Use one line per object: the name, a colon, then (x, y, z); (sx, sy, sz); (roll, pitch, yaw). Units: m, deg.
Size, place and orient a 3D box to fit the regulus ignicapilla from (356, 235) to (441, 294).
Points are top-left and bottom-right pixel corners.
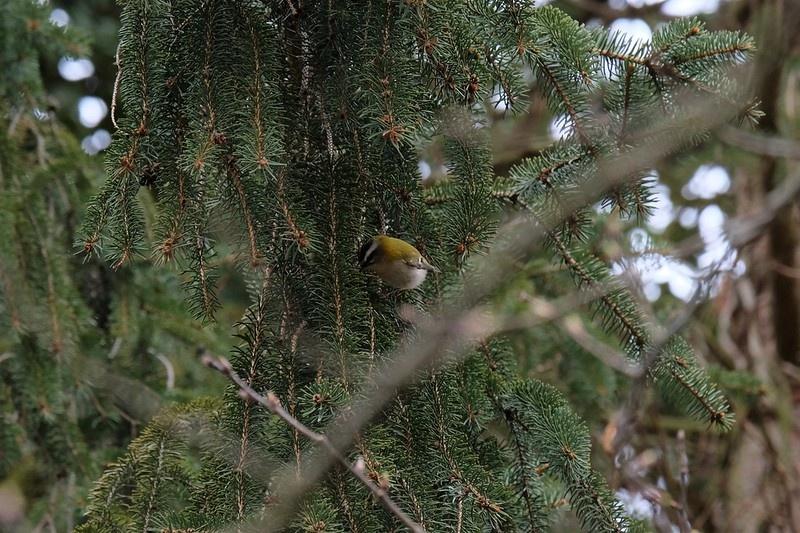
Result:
regulus ignicapilla: (0.007, -0.012, 6.310); (0.488, 0.362, 0.262); (-6, 2, -30)
